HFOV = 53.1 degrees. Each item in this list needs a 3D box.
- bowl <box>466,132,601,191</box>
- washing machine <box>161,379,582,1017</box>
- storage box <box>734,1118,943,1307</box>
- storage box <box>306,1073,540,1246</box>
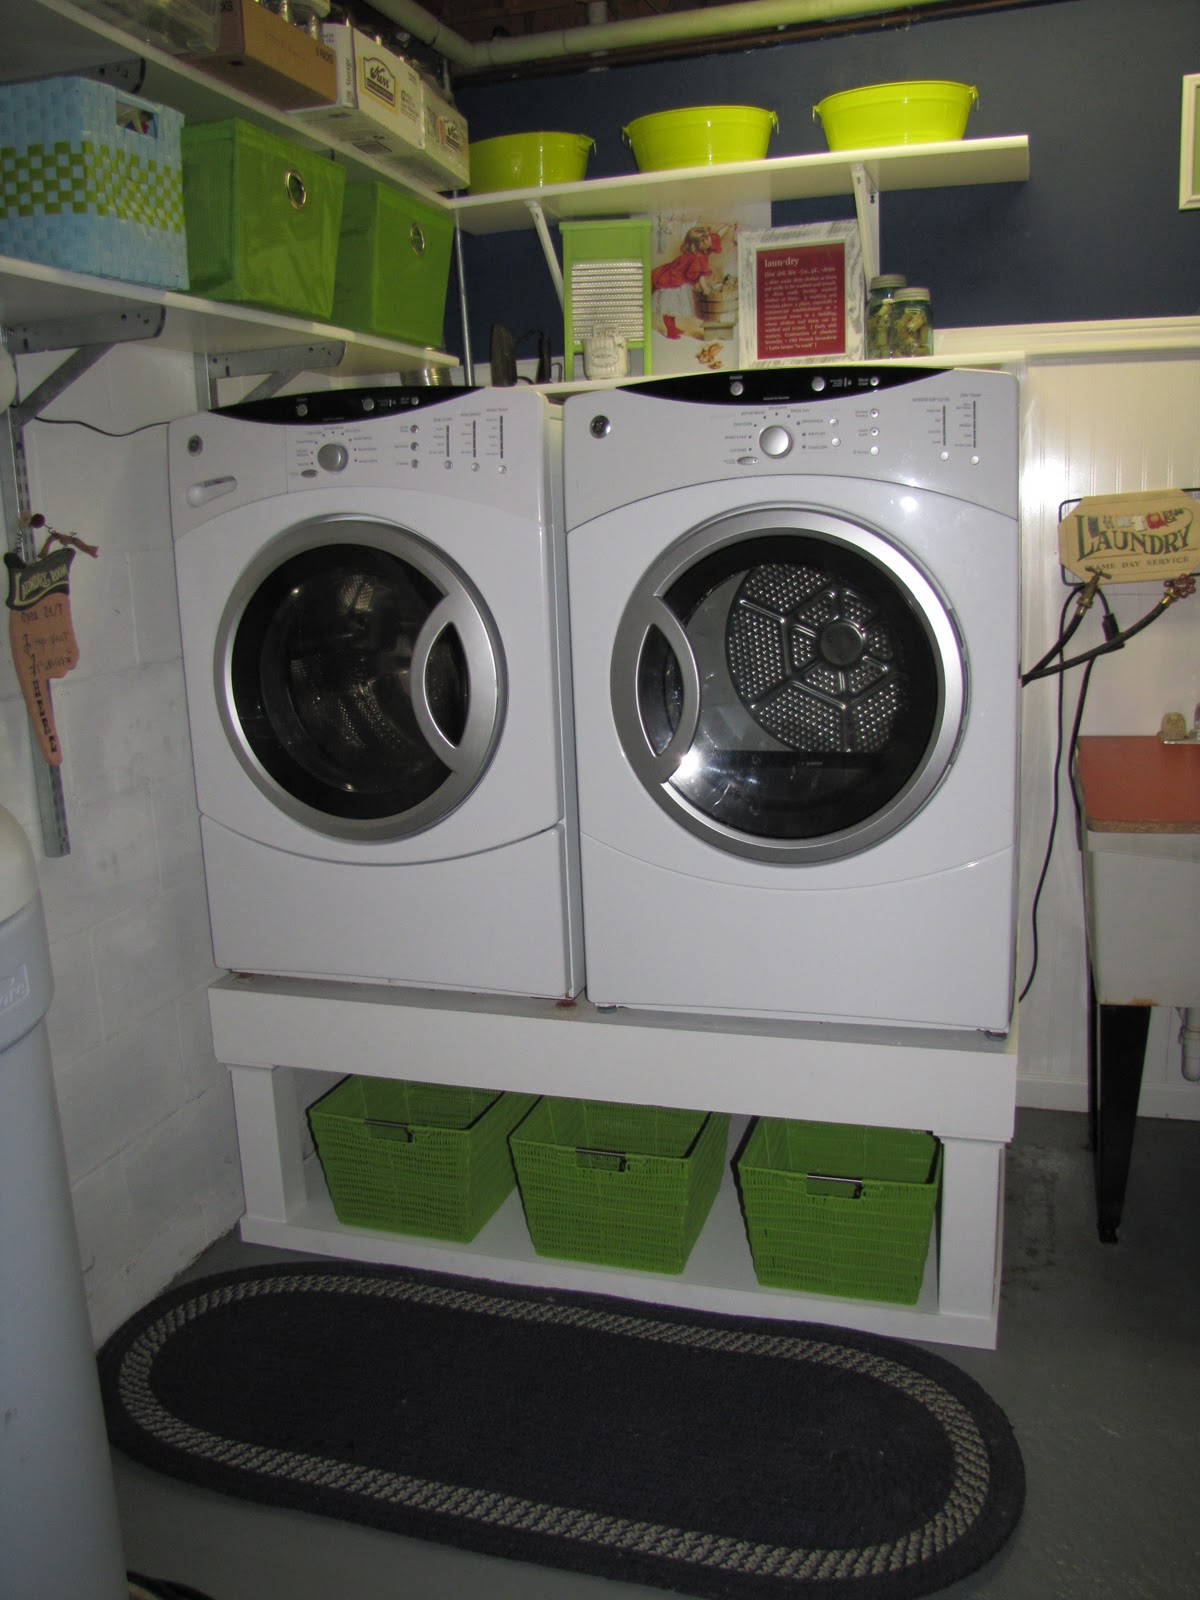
[{"bbox_3d":[-0.156,-1.357,2.544,0.169,0.065,0.180,-1,34,1],"label":"bowl"},{"bbox_3d":[-0.314,-0.216,2.198,0.760,1.279,0.821,1,9,10],"label":"washing machine"},{"bbox_3d":[0.370,0.578,1.878,0.244,0.212,0.265,1,3,11],"label":"storage box"},{"bbox_3d":[-0.290,0.600,2.099,0.227,0.205,0.320,1,1,14],"label":"storage box"}]
